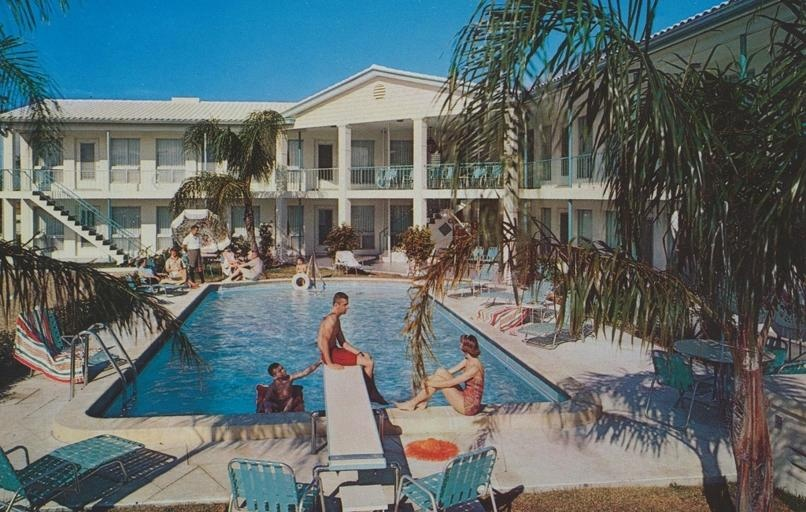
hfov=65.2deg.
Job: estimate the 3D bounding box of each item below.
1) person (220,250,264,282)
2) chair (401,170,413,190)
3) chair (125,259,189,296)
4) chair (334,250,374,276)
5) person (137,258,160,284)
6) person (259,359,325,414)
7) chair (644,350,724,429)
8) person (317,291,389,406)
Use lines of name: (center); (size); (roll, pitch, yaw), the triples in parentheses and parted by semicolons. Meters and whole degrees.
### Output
person: (-6.090, 0.390, 23.900); (1.423, 1.089, 1.079); (-1, 3, -4)
chair: (0.222, -3.604, 29.271); (0.379, 0.911, 0.823); (2, 4, 33)
chair: (-7.658, 0.703, 19.968); (2.545, 1.462, 0.952); (-6, 0, 31)
chair: (-2.182, 0.500, 26.083); (0.836, 0.616, 1.458); (-11, 33, -39)
person: (-8.693, 0.564, 21.594); (0.854, 0.978, 0.695); (1, 14, -5)
person: (-2.082, 2.249, 10.693); (0.918, 0.824, 0.821); (0, 3, 5)
chair: (4.572, 2.109, 10.355); (0.899, 1.254, 0.827); (-6, 13, -25)
person: (-0.895, 1.566, 10.433); (1.004, 1.911, 0.613); (-2, 4, -24)
